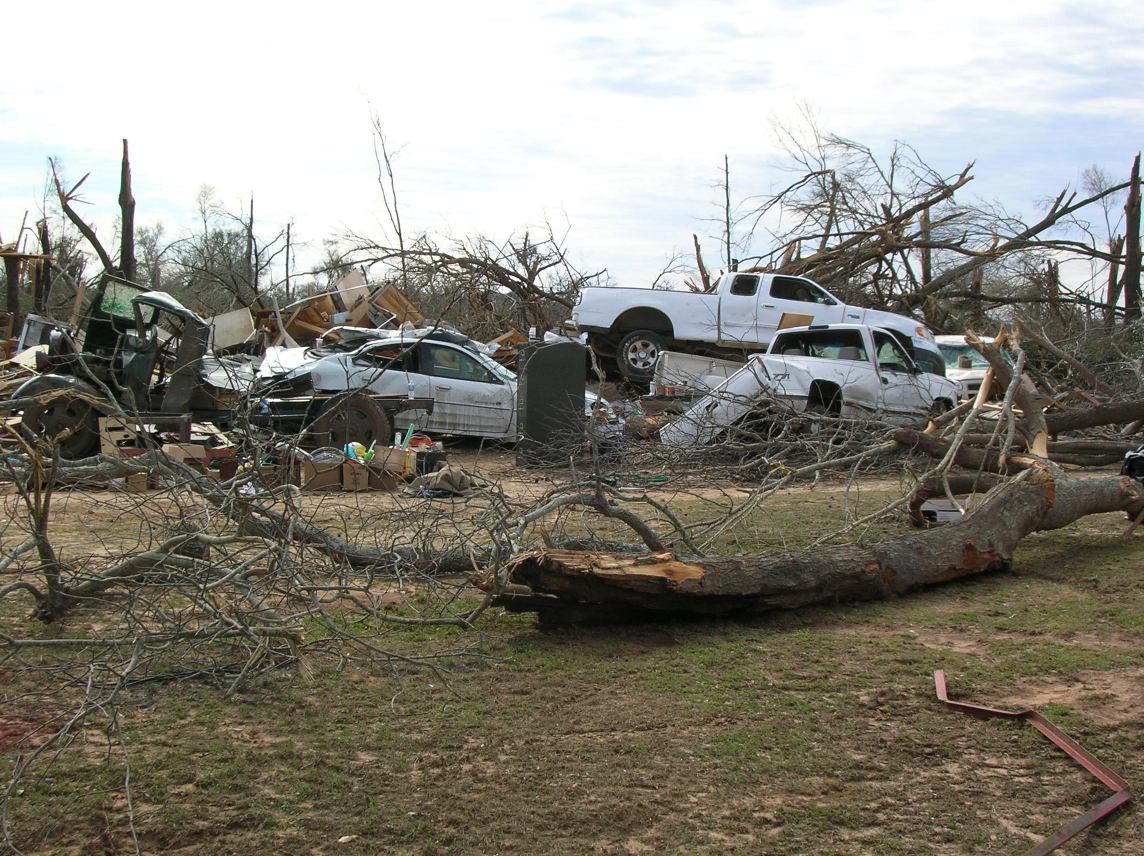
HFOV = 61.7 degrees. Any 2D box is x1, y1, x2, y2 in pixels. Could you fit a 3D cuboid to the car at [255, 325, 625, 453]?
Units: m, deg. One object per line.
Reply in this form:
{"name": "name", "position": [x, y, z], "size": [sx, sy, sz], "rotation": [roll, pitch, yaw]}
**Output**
{"name": "car", "position": [-2.275, -0.567, 13.542], "size": [5.563, 1.083, 1.867], "rotation": [1, 7, -19]}
